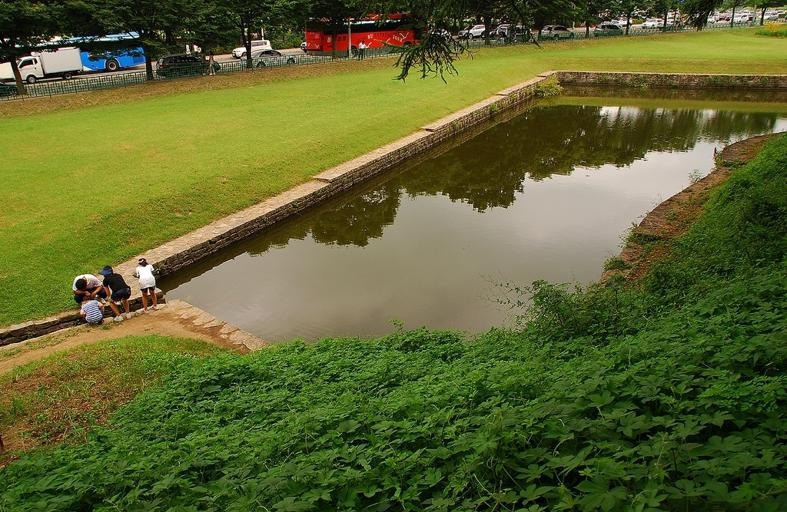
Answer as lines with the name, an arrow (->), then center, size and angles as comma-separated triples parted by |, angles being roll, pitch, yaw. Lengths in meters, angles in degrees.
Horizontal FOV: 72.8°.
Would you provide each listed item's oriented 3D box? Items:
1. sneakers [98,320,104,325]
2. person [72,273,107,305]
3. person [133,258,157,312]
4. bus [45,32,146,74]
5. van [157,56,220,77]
sneakers -> -7.552, 1.717, 13.835 | 0.141, 0.083, 0.122 | 2, 5, 7
person -> -8.086, 0.762, 14.044 | 0.792, 0.955, 0.855 | -6, 65, -20
person -> -6.628, 0.792, 14.360 | 0.492, 1.346, 0.608 | -17, 28, -17
bus -> -22.246, -15.713, 41.406 | 5.002, 2.824, 19.934 | -15, 24, -20
van -> -14.554, -13.730, 38.171 | 4.147, 1.419, 7.085 | -11, 23, -14
